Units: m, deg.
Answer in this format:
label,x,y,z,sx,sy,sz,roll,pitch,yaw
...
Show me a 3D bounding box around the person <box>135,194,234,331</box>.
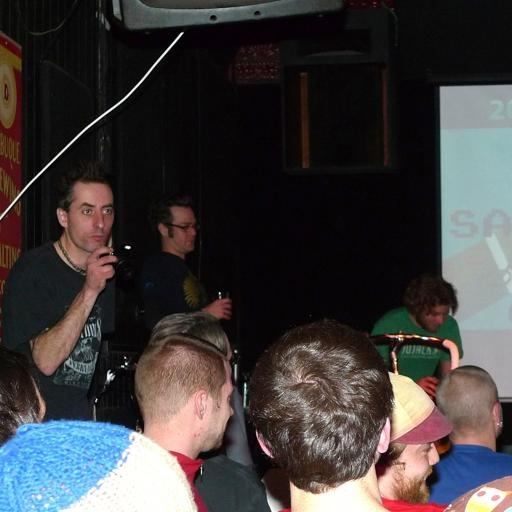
label,x,y,z,sx,sy,sz,roll,pitch,yaw
person,-0.373,-0.002,3.507,0.554,1.144,0.646,-5,5,-7
